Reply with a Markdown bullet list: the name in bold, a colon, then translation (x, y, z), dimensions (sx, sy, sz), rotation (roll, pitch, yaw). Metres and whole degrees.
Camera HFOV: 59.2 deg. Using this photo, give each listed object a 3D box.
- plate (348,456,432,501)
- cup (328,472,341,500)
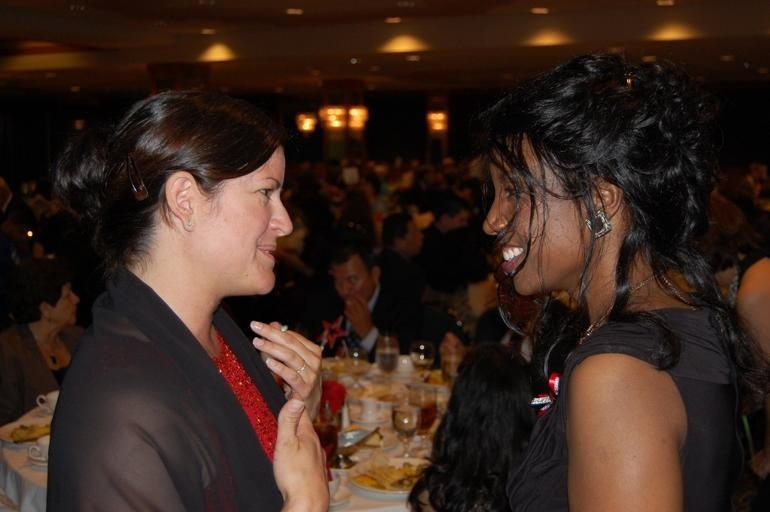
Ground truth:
- **plate**: translation (-0.015, 0.881, 2.673), dimensions (0.282, 0.081, 0.279), rotation (-9, 13, -29)
- **cup**: translation (-0.182, 0.885, 2.592), dimensions (0.077, 0.064, 0.081), rotation (0, -3, 0)
